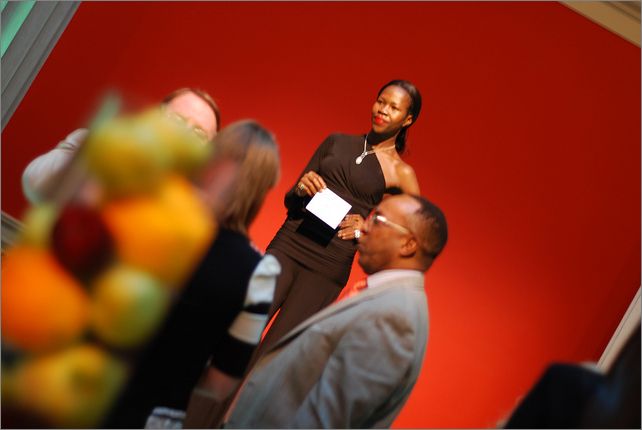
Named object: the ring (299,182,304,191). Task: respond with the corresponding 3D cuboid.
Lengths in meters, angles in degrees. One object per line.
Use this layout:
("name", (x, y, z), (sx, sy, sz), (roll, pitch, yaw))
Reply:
("ring", (-0.120, -0.173, 3.547), (0.028, 0.024, 0.030), (3, -11, 1))

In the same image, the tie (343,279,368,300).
("tie", (0.158, 0.362, 2.733), (0.068, 0.098, 0.106), (1, -48, 11))
